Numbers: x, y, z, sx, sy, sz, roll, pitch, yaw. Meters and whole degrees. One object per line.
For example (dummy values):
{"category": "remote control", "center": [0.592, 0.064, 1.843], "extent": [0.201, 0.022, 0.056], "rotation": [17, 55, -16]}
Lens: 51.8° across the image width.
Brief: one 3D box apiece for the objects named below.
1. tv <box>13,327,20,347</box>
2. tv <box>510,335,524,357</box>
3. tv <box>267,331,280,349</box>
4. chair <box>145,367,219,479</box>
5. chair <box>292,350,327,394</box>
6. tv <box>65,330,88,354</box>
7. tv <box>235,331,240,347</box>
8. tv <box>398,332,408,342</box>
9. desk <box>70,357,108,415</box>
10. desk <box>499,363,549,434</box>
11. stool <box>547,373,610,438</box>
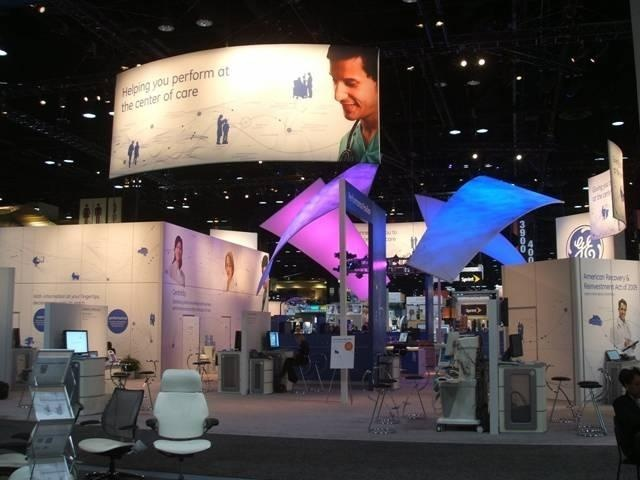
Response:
{"category": "tv", "center": [-7.698, 2.495, 16.758], "extent": [0.175, 0.457, 0.430], "rotation": [5, -10, -25]}
{"category": "tv", "center": [3.493, 1.888, 11.778], "extent": [0.111, 0.367, 0.513], "rotation": [-1, -16, 25]}
{"category": "tv", "center": [-1.234, 2.631, 17.361], "extent": [0.199, 0.542, 0.577], "rotation": [-9, -12, 23]}
{"category": "chair", "center": [-1.943, 2.557, 9.221], "extent": [0.907, 1.473, 1.083], "rotation": [3, -9, -13]}
{"category": "chair", "center": [-0.351, 3.613, 17.939], "extent": [0.964, 1.464, 0.957], "rotation": [-7, -11, 39]}
{"category": "tv", "center": [-4.726, 2.001, 12.933], "extent": [0.251, 0.449, 0.607], "rotation": [-2, -9, 18]}
{"category": "tv", "center": [-2.053, 2.531, 16.671], "extent": [0.121, 0.457, 0.534], "rotation": [3, -9, -13]}
{"category": "tv", "center": [2.993, 3.453, 23.303], "extent": [0.315, 0.235, 0.415], "rotation": [-1, 2, 15]}
{"category": "desk", "center": [-4.562, 2.895, 12.955], "extent": [0.869, 1.037, 0.881], "rotation": [-2, -11, -13]}
{"category": "desk", "center": [3.526, 2.703, 11.716], "extent": [0.788, 1.160, 0.826], "rotation": [-2, 7, 11]}
{"category": "stool", "center": [5.086, 3.230, 12.883], "extent": [0.596, 0.732, 1.010], "rotation": [2, -3, -37]}
